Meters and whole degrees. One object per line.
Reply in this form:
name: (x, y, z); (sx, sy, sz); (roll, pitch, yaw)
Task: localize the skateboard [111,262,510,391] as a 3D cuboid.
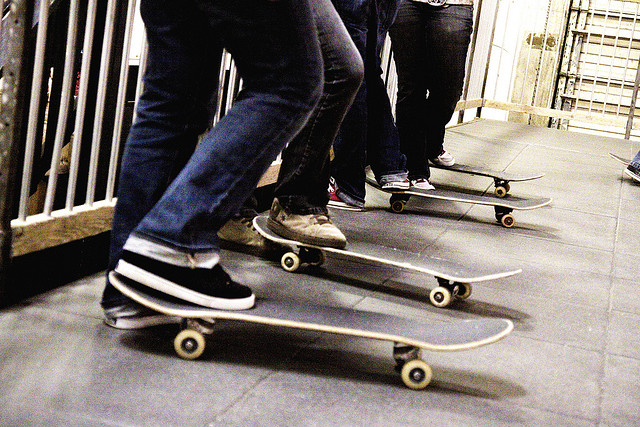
skateboard: (0.046, 0.352, 1.982); (1.458, 0.226, 0.499); (11, 11, 1)

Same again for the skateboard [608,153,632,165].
skateboard: (3.208, -0.581, 6.280); (0.115, 0.085, 0.741); (3, 13, 14)

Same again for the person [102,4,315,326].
person: (-0.407, -0.154, 2.011); (0.585, 1.144, 0.703); (4, 18, -20)

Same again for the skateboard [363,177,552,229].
skateboard: (0.887, -0.061, 3.894); (0.962, 0.148, 0.247); (8, 11, 6)

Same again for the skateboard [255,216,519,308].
skateboard: (0.287, 0.235, 2.721); (0.776, 0.125, 0.216); (14, 9, 11)

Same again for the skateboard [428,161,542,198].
skateboard: (1.253, -0.256, 4.532); (0.872, 0.144, 0.195); (12, 24, 19)
